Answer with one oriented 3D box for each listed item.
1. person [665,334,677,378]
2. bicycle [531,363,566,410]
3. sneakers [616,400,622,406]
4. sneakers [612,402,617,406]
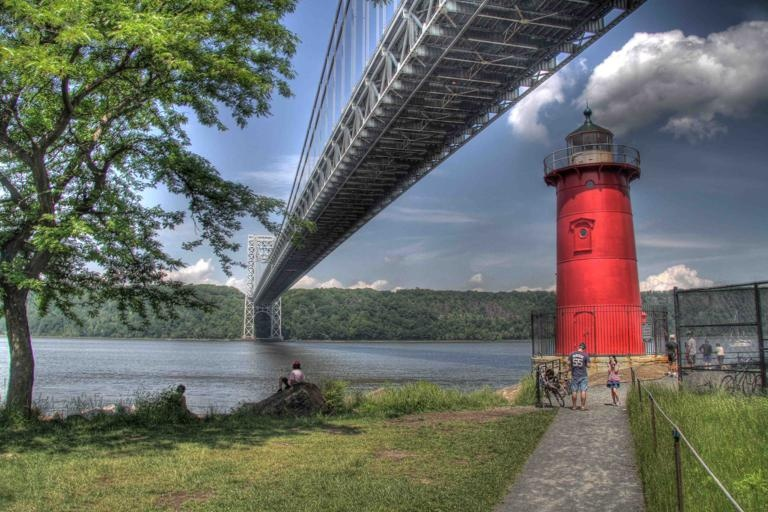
[{"bbox_3d":[10.707,3.632,21.215,0.314,1.282,2.153,-5,-6,25],"label":"person"},{"bbox_3d":[5.152,4.195,17.960,0.764,0.988,1.687,-10,-25,-2],"label":"bicycle"},{"bbox_3d":[6.819,4.237,16.512,0.105,0.058,0.167,-6,-1,10],"label":"sneakers"},{"bbox_3d":[6.660,4.250,16.436,0.059,0.107,0.172,-1,-29,-24],"label":"sneakers"}]
